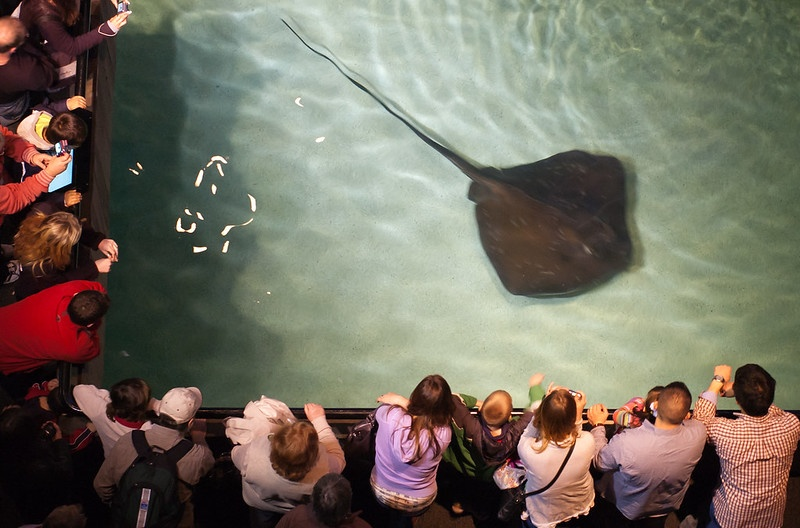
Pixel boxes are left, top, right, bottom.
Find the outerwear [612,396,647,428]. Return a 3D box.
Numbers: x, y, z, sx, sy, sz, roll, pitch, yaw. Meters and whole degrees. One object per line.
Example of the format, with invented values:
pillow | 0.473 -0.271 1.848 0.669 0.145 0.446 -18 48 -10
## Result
outerwear | 1.866 1.219 5.491 0.238 0.078 0.234 -25 25 11
